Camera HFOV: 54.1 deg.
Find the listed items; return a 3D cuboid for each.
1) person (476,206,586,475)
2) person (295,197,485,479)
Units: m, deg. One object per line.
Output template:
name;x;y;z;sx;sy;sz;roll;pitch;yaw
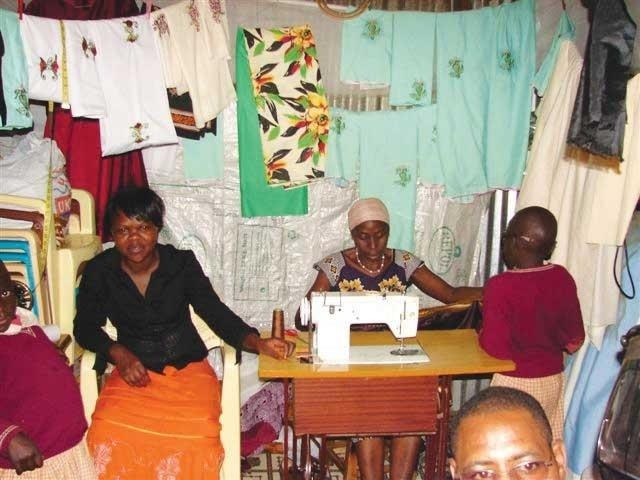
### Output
person;1.400;0.807;4.368;0.659;2.245;0.611;-11;26;-10
person;0.433;0.680;4.667;1.092;1.926;1.443;7;17;30
